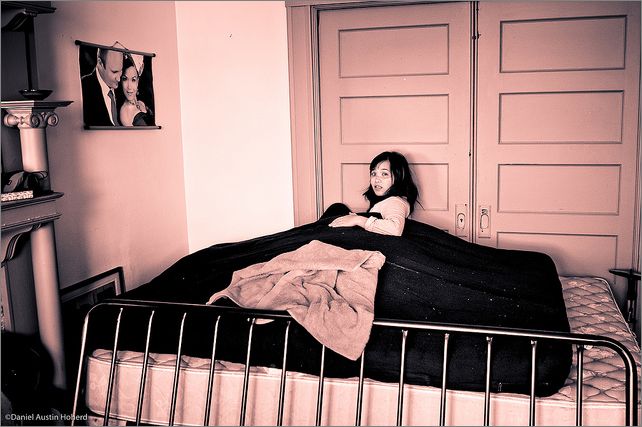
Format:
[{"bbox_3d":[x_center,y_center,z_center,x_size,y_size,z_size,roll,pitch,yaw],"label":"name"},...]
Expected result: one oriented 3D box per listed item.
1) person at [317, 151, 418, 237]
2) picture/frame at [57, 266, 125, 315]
[{"bbox_3d":[0.454,-0.128,4.074,0.704,0.739,0.893,5,-7,-9],"label":"person"},{"bbox_3d":[-1.530,0.505,3.440,0.013,0.193,0.338,2,16,23],"label":"picture/frame"}]
